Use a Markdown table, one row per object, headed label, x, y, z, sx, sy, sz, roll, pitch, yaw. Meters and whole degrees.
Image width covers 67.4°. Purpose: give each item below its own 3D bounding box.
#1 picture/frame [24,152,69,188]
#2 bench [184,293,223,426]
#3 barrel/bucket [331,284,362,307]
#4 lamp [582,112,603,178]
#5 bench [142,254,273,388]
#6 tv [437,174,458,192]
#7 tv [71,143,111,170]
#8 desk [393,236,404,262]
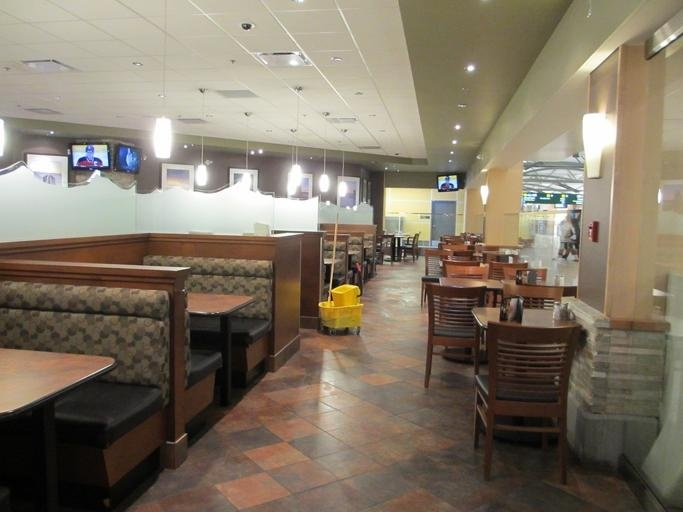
| label | x | y | z | sx | sy | sz | roll | pitch | yaw |
| --- | --- | --- | --- | --- | --- | --- | --- | --- | --- |
| picture/frame | -7.664 | -2.287 | 13.326 | 0.960 | 0.722 | 0.297 | -5 | 11 | -30 |
| bench | -1.130 | 0.872 | 4.188 | 0.285 | 1.093 | 0.788 | -2 | 10 | -14 |
| barrel/bucket | 0.072 | 0.537 | 7.016 | 0.361 | 0.273 | 0.238 | 5 | -4 | -40 |
| lamp | 2.112 | -0.929 | 4.298 | 0.147 | 0.560 | 0.276 | 4 | 10 | 18 |
| bench | -1.435 | 0.581 | 5.209 | 1.337 | 1.157 | 0.794 | 5 | 1 | 5 |
| tv | 4.195 | -2.858 | 20.058 | 0.732 | 0.648 | 0.103 | -1 | -11 | 36 |
| tv | -6.105 | -2.402 | 12.388 | 1.116 | 0.627 | 0.260 | 5 | 11 | 21 |
| desk | 2.100 | -0.316 | 18.437 | 0.309 | 0.943 | 1.715 | 2 | 10 | 7 |
